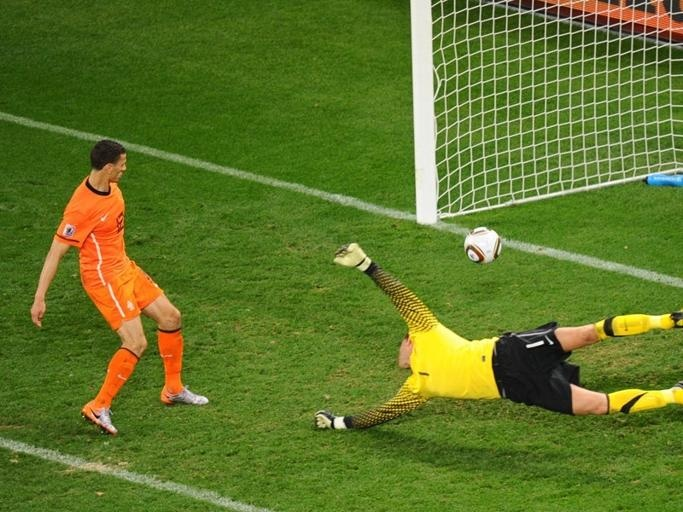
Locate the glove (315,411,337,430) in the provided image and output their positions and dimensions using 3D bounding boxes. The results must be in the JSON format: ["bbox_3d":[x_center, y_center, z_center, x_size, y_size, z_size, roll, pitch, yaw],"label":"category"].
[{"bbox_3d":[-0.139,1.423,9.773,0.188,0.125,0.083,12,48,20],"label":"glove"}]

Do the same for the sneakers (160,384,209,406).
[{"bbox_3d":[-1.399,1.257,10.145,0.482,0.171,0.156,1,1,-6],"label":"sneakers"}]

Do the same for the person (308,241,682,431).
[{"bbox_3d":[1.230,0.621,9.261,2.972,0.560,1.360,-2,37,14],"label":"person"}]

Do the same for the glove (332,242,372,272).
[{"bbox_3d":[0.109,0.010,9.686,0.340,0.196,0.120,17,-13,3],"label":"glove"}]

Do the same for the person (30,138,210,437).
[{"bbox_3d":[-1.912,0.267,9.749,1.353,2.522,0.617,4,15,-7],"label":"person"}]

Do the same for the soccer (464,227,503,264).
[{"bbox_3d":[1.244,-0.118,10.065,0.356,0.296,0.322,-8,8,-11],"label":"soccer"}]
